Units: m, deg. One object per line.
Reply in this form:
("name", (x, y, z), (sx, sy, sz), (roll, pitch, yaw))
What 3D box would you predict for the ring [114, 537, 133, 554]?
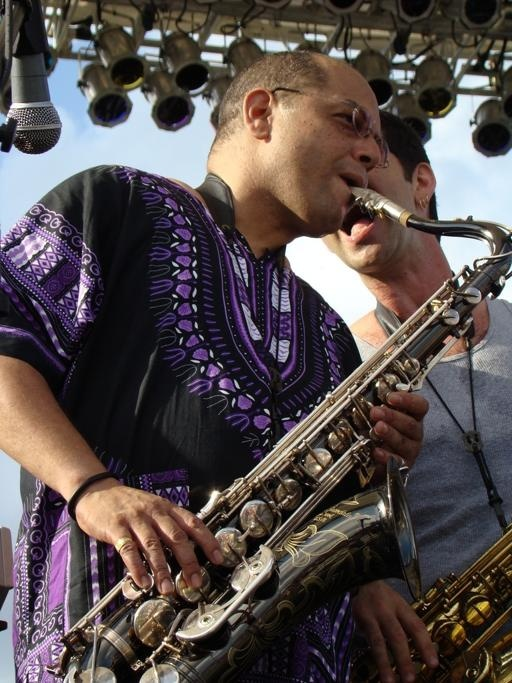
("ring", (-0.239, 0.369, 1.354), (0.029, 0.029, 0.031), (-1, -25, -1))
